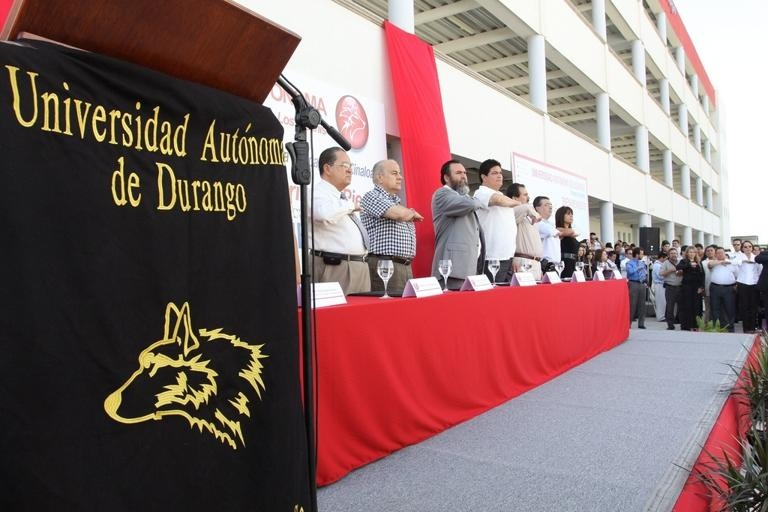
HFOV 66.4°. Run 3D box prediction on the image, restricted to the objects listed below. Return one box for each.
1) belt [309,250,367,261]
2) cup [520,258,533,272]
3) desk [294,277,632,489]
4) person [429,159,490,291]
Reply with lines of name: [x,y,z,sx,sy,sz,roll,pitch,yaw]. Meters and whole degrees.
belt: [-0.237,-0.006,3.307,0.341,0.067,0.064,-3,4,-38]
cup: [1.106,0.067,4.611,0.072,0.096,0.097,1,-16,-4]
desk: [0.861,0.545,3.846,0.529,0.809,3.517,-2,0,42]
person: [0.494,-0.233,3.919,0.358,0.857,0.742,0,3,5]
